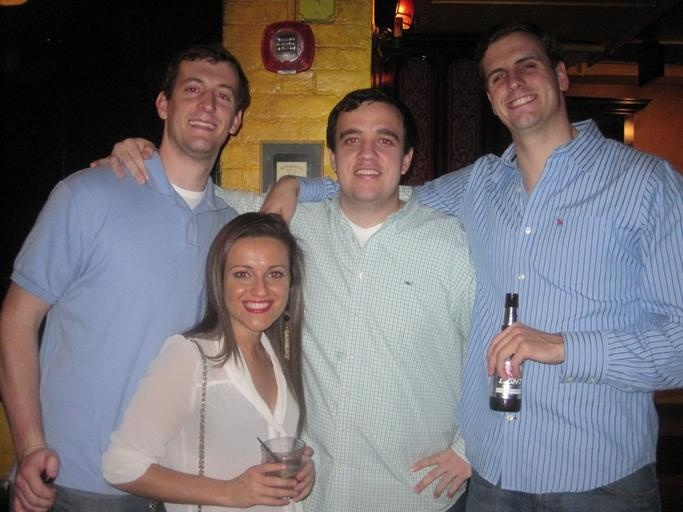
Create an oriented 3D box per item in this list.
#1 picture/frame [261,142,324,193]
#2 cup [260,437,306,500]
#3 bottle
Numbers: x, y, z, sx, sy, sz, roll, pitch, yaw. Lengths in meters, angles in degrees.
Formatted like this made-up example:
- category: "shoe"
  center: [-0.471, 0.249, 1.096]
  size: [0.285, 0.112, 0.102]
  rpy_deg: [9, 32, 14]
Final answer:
- category: "picture/frame"
  center: [-0.281, -0.518, 3.751]
  size: [0.391, 0.379, 0.028]
  rpy_deg: [0, 3, 1]
- category: "cup"
  center: [-0.247, 0.856, 2.707]
  size: [0.156, 0.123, 0.176]
  rpy_deg: [-1, -9, 0]
- category: "bottle"
  center: [0.724, 0.436, 2.871]
  size: [0.138, 0.546, 0.255]
  rpy_deg: [1, 3, 15]
